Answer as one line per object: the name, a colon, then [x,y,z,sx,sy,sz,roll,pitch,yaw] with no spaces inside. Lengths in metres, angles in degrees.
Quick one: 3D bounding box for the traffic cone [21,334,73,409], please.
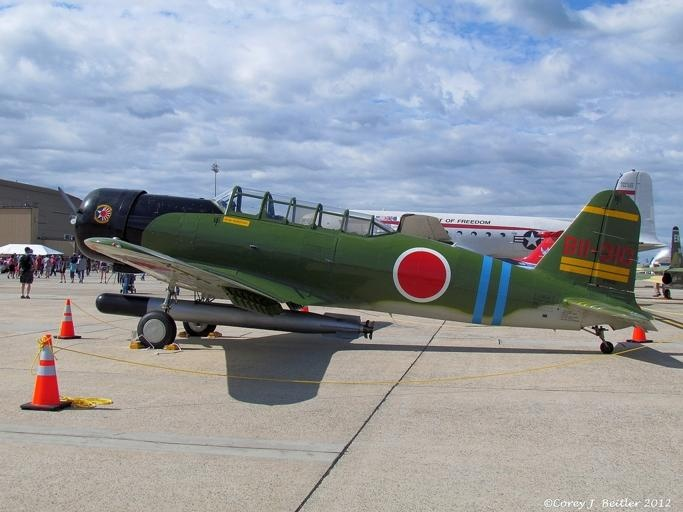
traffic cone: [-3.448,1.352,5.812,0.497,0.771,0.601,0,7,-27]
